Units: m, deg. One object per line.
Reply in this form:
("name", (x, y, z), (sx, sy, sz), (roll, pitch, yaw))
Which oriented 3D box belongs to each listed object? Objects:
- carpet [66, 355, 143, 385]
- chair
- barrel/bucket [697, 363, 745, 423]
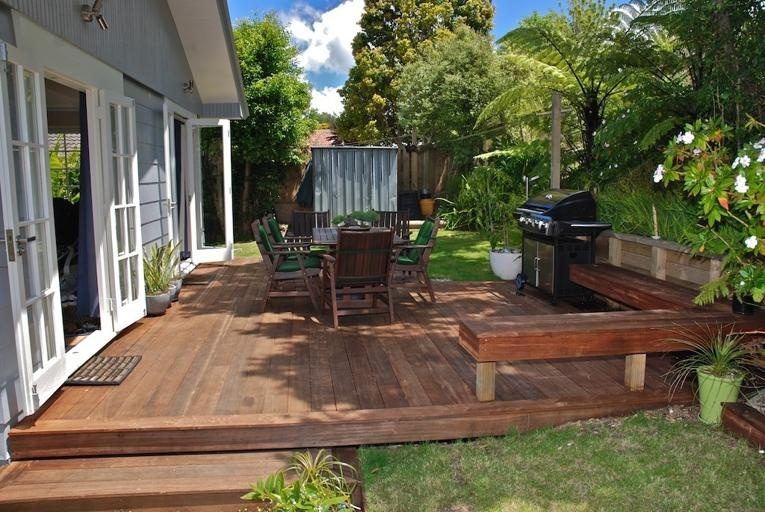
("carpet", (-2.521, 1.044, 4.795), (0.530, 0.055, 0.561), (-1, 11, 3))
("chair", (-0.398, -0.024, 7.231), (2.401, 1.141, 3.020), (3, 12, 20))
("barrel/bucket", (2.629, 1.081, 4.271), (0.359, 0.426, 0.393), (1, 5, 0))
